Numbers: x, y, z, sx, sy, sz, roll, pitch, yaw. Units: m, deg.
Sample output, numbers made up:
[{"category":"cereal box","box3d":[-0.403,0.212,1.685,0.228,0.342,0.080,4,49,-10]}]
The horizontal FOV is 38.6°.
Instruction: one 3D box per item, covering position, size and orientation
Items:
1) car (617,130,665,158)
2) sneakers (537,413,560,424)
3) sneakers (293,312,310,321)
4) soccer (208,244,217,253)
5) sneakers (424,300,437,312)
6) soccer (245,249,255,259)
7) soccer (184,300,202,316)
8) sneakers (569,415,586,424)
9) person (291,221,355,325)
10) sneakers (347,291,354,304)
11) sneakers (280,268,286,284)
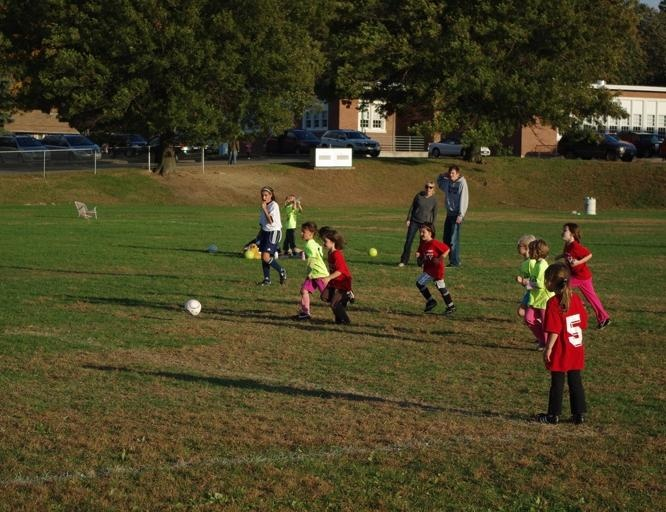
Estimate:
[{"category":"car","box3d":[20.952,-7.386,64.346,3.070,1.804,1.929,-4,12,1]},{"category":"sneakers","box3d":[3.035,2.250,13.382,0.284,0.148,0.135,11,11,32]},{"category":"sneakers","box3d":[-0.606,1.106,17.529,0.293,0.157,0.136,4,3,2]},{"category":"soccer","box3d":[-3.122,-0.194,24.418,0.157,0.140,0.225,11,0,-12]},{"category":"sneakers","box3d":[1.858,0.977,18.340,0.165,0.144,0.365,17,-20,-8]},{"category":"soccer","box3d":[-2.082,-0.024,23.494,0.182,0.237,0.193,-29,-1,0]},{"category":"soccer","box3d":[-2.612,0.927,17.604,0.297,0.287,0.397,-1,13,-8]},{"category":"sneakers","box3d":[3.429,2.269,13.323,0.096,0.150,0.144,-1,6,-20]},{"category":"person","box3d":[-0.195,0.305,17.343,0.853,1.827,1.038,-7,14,-30]},{"category":"sneakers","box3d":[0.327,0.740,17.255,0.154,0.249,0.175,-1,-1,-18]},{"category":"sneakers","box3d":[-1.093,0.435,20.394,0.096,0.307,0.129,0,-2,-4]}]
